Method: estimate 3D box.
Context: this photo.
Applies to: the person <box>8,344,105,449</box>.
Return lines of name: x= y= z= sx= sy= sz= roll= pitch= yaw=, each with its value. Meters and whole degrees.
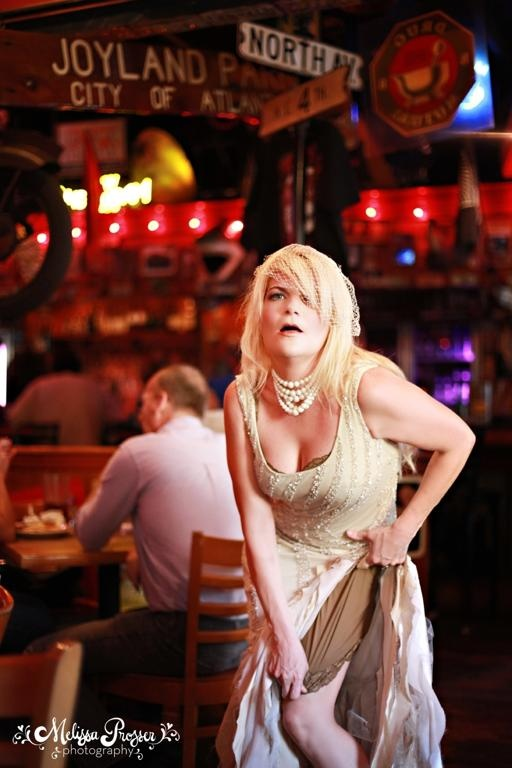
person: x=-1.227 y=0.049 z=4.292 sx=0.767 sy=0.680 sz=0.398 roll=2 pitch=4 yaw=-1

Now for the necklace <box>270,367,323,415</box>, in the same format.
necklace: x=0.084 y=0.017 z=1.573 sx=0.083 sy=0.089 sz=0.055 roll=-4 pitch=-8 yaw=5
